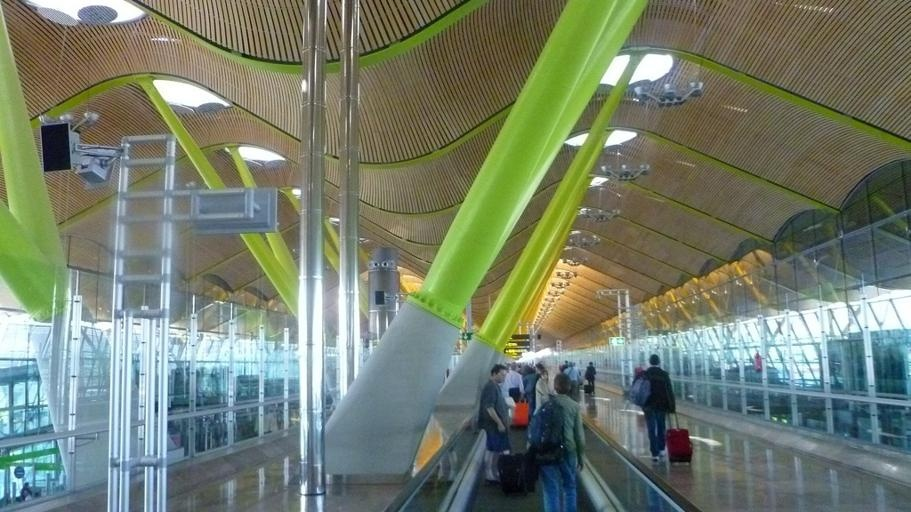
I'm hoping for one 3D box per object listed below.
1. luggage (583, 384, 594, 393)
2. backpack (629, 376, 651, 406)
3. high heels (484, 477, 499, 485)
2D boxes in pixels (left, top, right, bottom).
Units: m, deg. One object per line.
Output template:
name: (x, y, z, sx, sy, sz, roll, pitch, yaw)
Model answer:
luggage: (9.681, 9.636, 44.329, 0.765, 0.741, 0.674, 1, 86, -39)
backpack: (5.081, 3.864, 17.192, 0.519, 1.037, 0.699, 6, 58, -5)
high heels: (1.010, 6.299, 17.124, 0.448, 0.159, 0.164, -1, 81, 10)
